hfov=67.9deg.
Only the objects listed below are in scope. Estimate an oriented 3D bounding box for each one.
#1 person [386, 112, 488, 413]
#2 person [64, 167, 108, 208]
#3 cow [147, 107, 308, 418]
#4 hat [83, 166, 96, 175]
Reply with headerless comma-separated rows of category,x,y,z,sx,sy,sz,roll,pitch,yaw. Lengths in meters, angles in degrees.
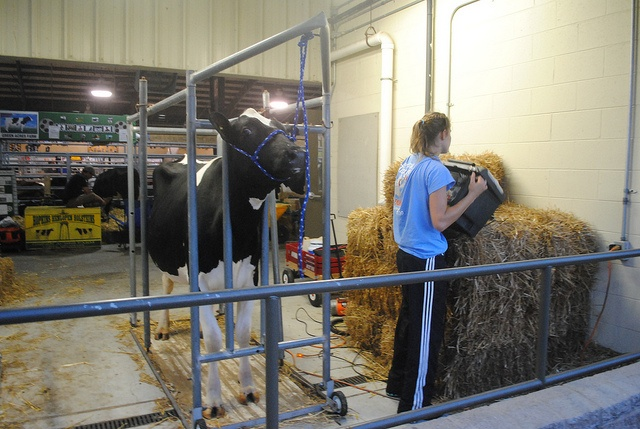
person,0.902,0.418,3.939,0.637,2.493,0.835,2,12,8
person,-5.364,-0.661,10.876,0.925,0.931,0.745,2,6,-23
cow,-0.941,0.290,4.429,0.888,2.496,1.790,-7,14,-32
hat,-5.437,-1.047,11.201,0.229,0.150,0.300,12,-5,31
